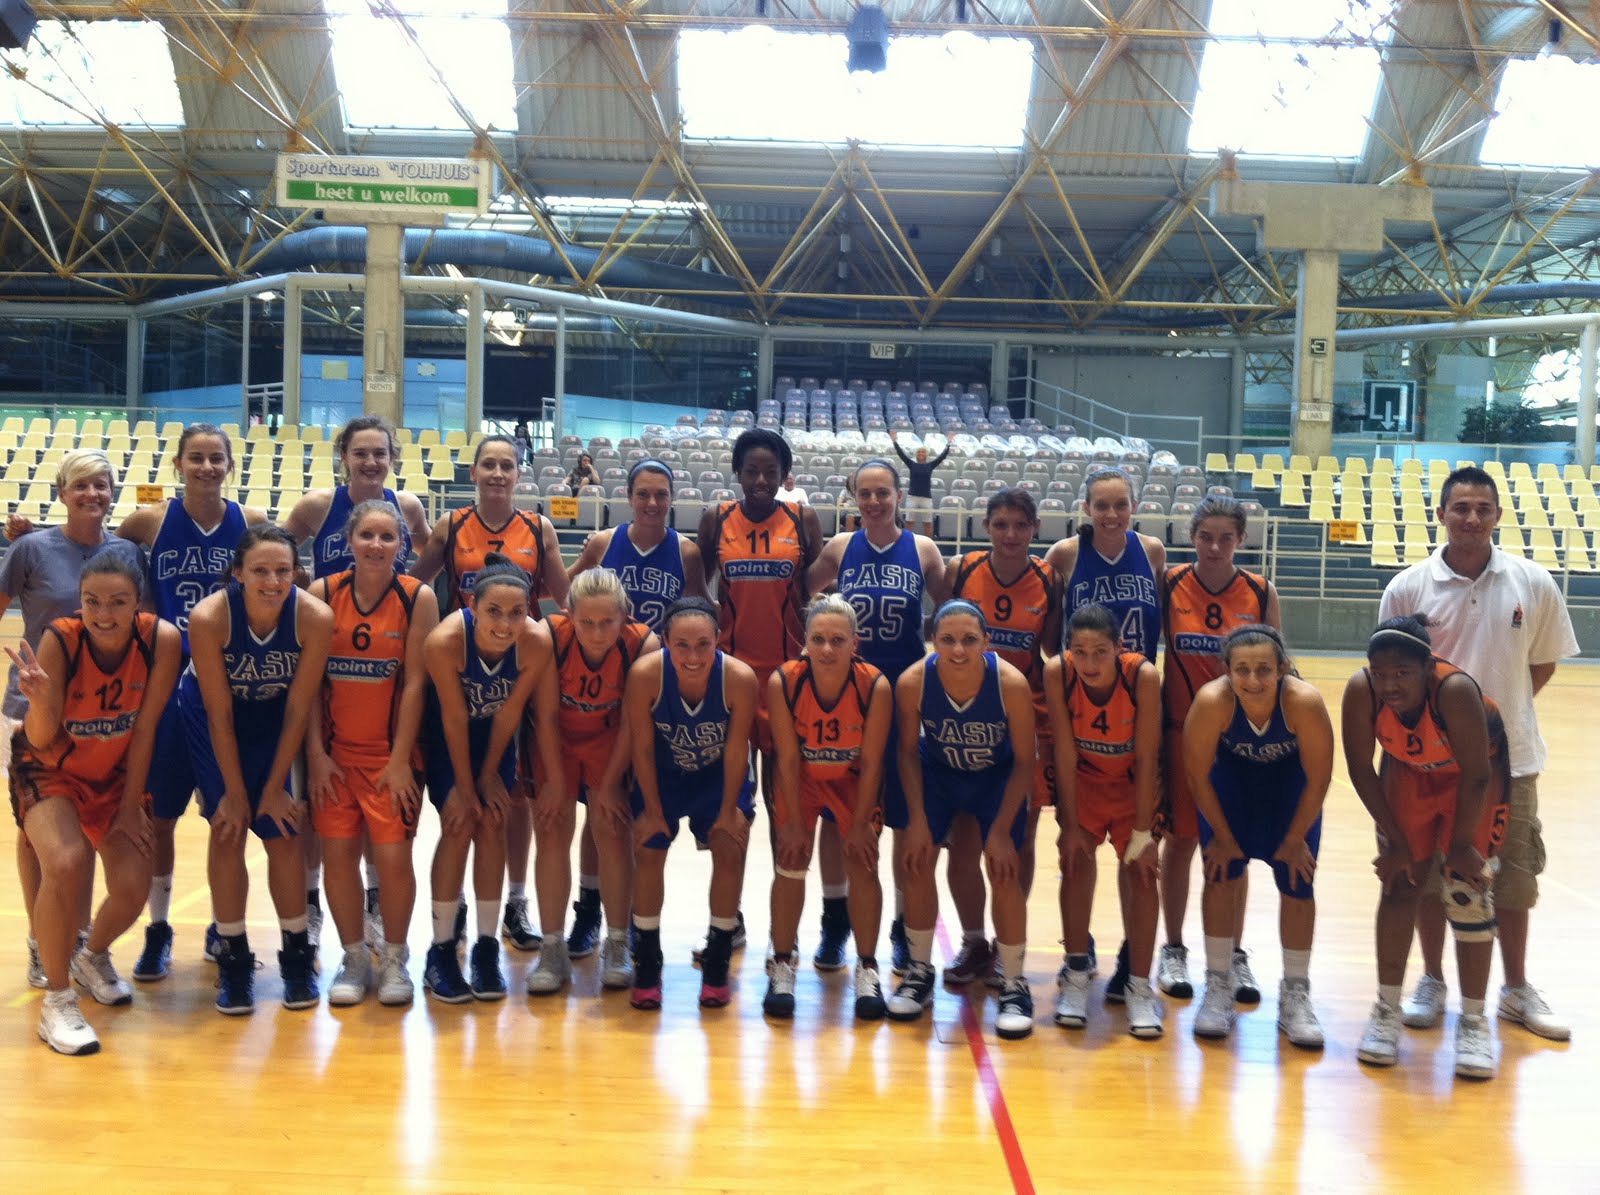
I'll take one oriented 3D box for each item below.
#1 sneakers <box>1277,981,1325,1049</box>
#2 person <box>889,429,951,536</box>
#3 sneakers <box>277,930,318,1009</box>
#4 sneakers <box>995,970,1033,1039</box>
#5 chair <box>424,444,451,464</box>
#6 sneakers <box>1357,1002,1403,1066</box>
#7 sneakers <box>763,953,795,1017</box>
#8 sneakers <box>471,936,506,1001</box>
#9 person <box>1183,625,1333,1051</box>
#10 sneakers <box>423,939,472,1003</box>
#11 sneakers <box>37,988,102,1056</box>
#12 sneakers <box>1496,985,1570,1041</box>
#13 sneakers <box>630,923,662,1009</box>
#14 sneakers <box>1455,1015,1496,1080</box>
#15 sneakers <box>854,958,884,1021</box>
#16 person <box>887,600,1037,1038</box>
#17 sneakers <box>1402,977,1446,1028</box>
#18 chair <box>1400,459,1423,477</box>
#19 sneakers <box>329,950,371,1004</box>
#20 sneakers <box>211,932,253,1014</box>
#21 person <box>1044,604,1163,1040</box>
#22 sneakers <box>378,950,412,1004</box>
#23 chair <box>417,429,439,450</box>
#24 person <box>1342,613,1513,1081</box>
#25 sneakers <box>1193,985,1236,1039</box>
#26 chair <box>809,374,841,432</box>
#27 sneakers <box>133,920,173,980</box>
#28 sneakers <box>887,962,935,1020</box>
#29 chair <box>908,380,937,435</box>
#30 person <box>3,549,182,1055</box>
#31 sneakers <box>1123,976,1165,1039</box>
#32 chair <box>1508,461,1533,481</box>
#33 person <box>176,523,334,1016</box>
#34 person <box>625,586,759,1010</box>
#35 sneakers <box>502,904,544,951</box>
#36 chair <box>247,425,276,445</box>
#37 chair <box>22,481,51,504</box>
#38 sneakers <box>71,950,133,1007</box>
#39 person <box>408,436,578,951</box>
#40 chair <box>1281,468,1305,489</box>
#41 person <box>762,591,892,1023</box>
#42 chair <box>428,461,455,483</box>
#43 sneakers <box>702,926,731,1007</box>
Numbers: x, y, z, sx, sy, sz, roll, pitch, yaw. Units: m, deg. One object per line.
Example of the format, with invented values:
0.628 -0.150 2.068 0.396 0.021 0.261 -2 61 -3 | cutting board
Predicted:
2.084 1.688 6.754 0.186 0.223 0.289 6 15 18 | sneakers
1.109 -1.097 15.336 0.518 1.202 0.185 0 41 2 | person
-2.106 1.548 6.808 0.117 0.169 0.363 -1 5 -17 | sneakers
0.900 1.676 6.852 0.173 0.176 0.361 3 15 7 | sneakers
-4.100 -1.650 18.274 0.251 0.215 0.270 -1 2 -5 | chair
2.355 1.751 6.614 0.163 0.199 0.210 7 16 21 | sneakers
-0.090 1.624 6.893 0.133 0.191 0.242 1 15 1 | sneakers
-1.341 1.545 6.933 0.138 0.217 0.253 -2 15 -12 | sneakers
1.895 0.951 6.733 0.588 1.644 0.563 2 14 4 | person
-1.502 1.572 6.884 0.119 0.168 0.357 3 -5 -24 | sneakers
-2.909 1.676 6.472 0.141 0.179 0.351 3 -1 -44 | sneakers
3.079 1.716 6.808 0.113 0.148 0.314 10 1 -37 | sneakers
-0.660 1.540 6.935 0.122 0.289 0.289 -1 15 -6 | sneakers
2.703 1.795 6.515 0.104 0.149 0.335 -2 -3 10 | sneakers
0.293 1.642 6.907 0.135 0.183 0.237 1 15 2 | sneakers
0.705 0.880 6.888 0.638 1.713 0.749 2 14 4 | person
2.638 1.700 6.871 0.103 0.139 0.300 -4 -13 31 | sneakers
7.044 -1.501 18.786 0.218 0.238 0.411 -3 -3 14 | chair
-1.909 1.564 6.889 0.155 0.192 0.274 1 15 1 | sneakers
-2.387 1.513 6.793 0.121 0.167 0.379 -2 38 -23 | sneakers
1.287 0.903 6.848 0.540 1.674 0.666 2 14 7 | person
-1.718 1.573 6.850 0.141 0.203 0.189 -3 15 -14 | sneakers
-4.384 -1.883 19.021 0.304 0.253 0.328 1 7 4 | chair
2.555 0.959 6.651 0.717 1.719 0.683 6 15 20 | person
1.723 1.696 6.774 0.161 0.185 0.204 4 15 11 | sneakers
0.314 -2.661 22.277 0.485 0.561 0.976 -2 43 5 | chair
-2.781 1.518 6.937 0.090 0.133 0.285 0 3 -7 | sneakers
0.485 1.640 6.904 0.284 0.190 0.153 -13 20 -43 | sneakers
1.670 -2.612 22.247 0.407 0.781 0.684 0 0 -1 | chair
-2.851 0.769 6.592 0.693 1.854 0.739 -5 15 -23 | person
1.435 1.689 6.800 0.162 0.177 0.246 4 15 12 | sneakers
8.314 -1.465 18.791 0.270 0.207 0.276 -3 2 -31 | chair
-2.278 0.677 6.808 0.634 1.930 0.685 -3 15 -15 | person
-0.464 0.835 6.967 0.554 1.654 0.611 -1 14 -7 | person
-1.281 1.502 7.475 0.285 0.218 0.104 -7 -10 44 | sneakers
-6.333 -1.922 19.024 0.322 0.352 0.315 1 0 -17 | chair
-8.224 -1.141 17.487 0.272 0.198 0.282 0 -3 -22 | chair
-2.935 1.580 6.783 0.286 0.139 0.107 35 18 17 | sneakers
-1.403 0.423 7.454 0.737 2.437 0.700 1 -11 -8 | person
5.498 -1.358 18.133 0.239 0.198 0.133 6 15 18 | chair
0.119 0.851 6.906 0.532 1.692 0.578 1 14 -1 | person
-4.011 -1.386 18.040 0.237 0.368 0.266 1 -7 -8 | chair
-0.374 1.539 6.997 0.130 0.278 0.327 0 15 -3 | sneakers
